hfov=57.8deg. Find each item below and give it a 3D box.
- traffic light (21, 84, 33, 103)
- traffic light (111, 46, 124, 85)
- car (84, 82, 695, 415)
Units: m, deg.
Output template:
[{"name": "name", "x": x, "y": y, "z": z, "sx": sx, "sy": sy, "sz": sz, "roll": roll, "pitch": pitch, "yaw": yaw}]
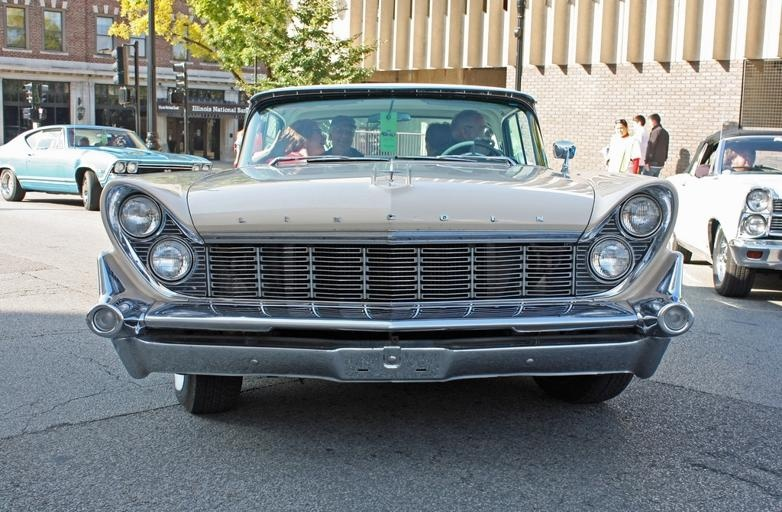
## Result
[{"name": "traffic light", "x": -19.806, "y": -8.968, "z": 38.808, "sx": 0.486, "sy": 1.167, "sz": 1.514, "roll": -6, "pitch": 14, "yaw": -26}, {"name": "traffic light", "x": -8.428, "y": -5.953, "z": 21.963, "sx": 0.349, "sy": 1.175, "sz": 1.135, "roll": -4, "pitch": 14, "yaw": -21}, {"name": "car", "x": -0.023, "y": -0.094, "z": 4.860, "sx": 3.392, "sy": 2.191, "sz": 2.396, "roll": 0, "pitch": 13, "yaw": -2}]
